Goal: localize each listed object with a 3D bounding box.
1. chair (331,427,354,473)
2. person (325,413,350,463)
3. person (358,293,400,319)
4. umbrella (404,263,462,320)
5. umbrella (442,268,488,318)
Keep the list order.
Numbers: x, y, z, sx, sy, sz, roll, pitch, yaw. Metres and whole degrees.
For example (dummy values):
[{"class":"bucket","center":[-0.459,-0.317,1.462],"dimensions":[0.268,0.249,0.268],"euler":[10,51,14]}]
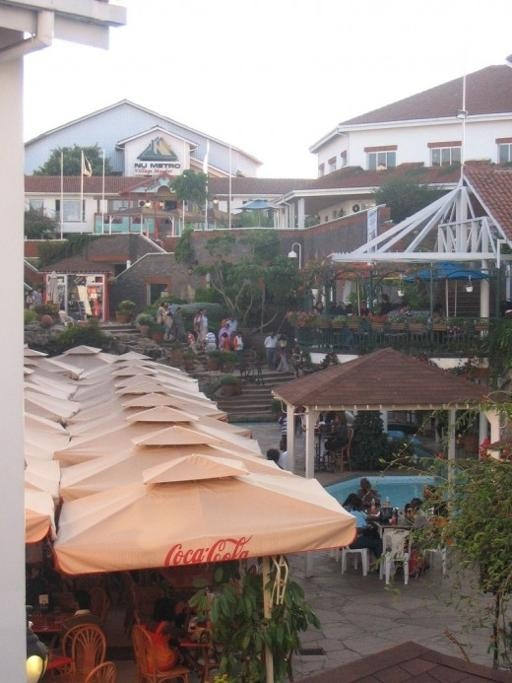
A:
[{"class":"chair","center":[1.561,1.965,25.281],"dimensions":[0.368,0.707,0.698],"euler":[-2,8,3]},{"class":"person","center":[1.453,1.712,25.423],"dimensions":[0.421,0.884,0.344],"euler":[11,17,15]},{"class":"person","center":[2.898,-0.840,33.391],"dimensions":[0.475,0.762,1.318],"euler":[-3,6,-34]},{"class":"umbrella","center":[4.004,-1.070,31.506],"dimensions":[1.353,1.160,1.437],"euler":[0,0,14]},{"class":"umbrella","center":[4.574,-1.032,30.490],"dimensions":[0.973,1.161,1.015],"euler":[0,3,-4]}]
